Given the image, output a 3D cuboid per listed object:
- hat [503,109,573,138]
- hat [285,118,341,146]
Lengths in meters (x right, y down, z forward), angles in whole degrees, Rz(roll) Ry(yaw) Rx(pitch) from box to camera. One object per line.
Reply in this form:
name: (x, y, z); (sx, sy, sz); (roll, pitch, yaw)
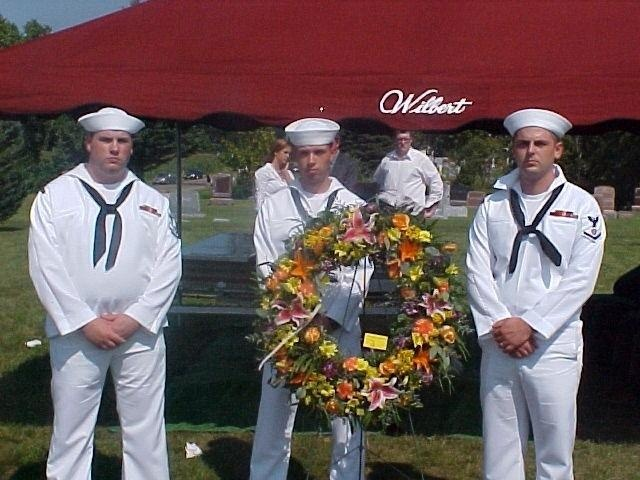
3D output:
hat: (1.714, -0.953, 9.314); (0.327, 0.078, 0.327); (8, -9, 42)
hat: (-0.059, -0.880, 9.578); (0.433, 0.231, 0.256); (0, 7, -2)
